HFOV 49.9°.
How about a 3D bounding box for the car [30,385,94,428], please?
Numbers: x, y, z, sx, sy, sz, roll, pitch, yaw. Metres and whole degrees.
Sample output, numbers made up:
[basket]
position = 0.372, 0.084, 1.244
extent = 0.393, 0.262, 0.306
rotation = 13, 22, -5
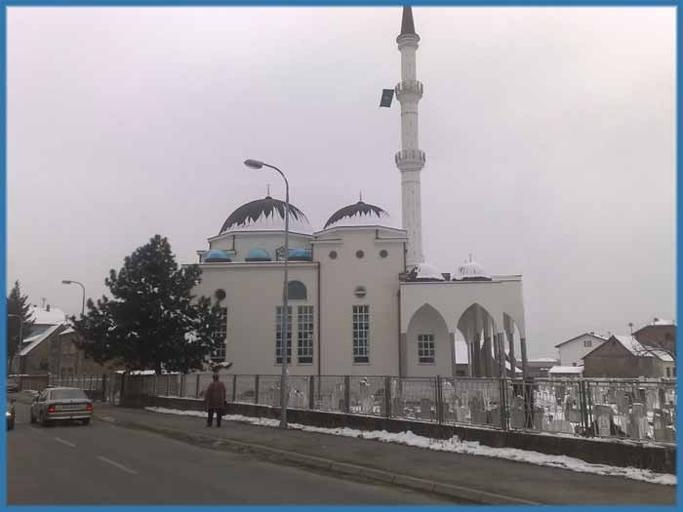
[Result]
[car]
position = -9.948, 5.297, 25.875
extent = 1.202, 0.858, 2.564
rotation = 5, -9, -27
